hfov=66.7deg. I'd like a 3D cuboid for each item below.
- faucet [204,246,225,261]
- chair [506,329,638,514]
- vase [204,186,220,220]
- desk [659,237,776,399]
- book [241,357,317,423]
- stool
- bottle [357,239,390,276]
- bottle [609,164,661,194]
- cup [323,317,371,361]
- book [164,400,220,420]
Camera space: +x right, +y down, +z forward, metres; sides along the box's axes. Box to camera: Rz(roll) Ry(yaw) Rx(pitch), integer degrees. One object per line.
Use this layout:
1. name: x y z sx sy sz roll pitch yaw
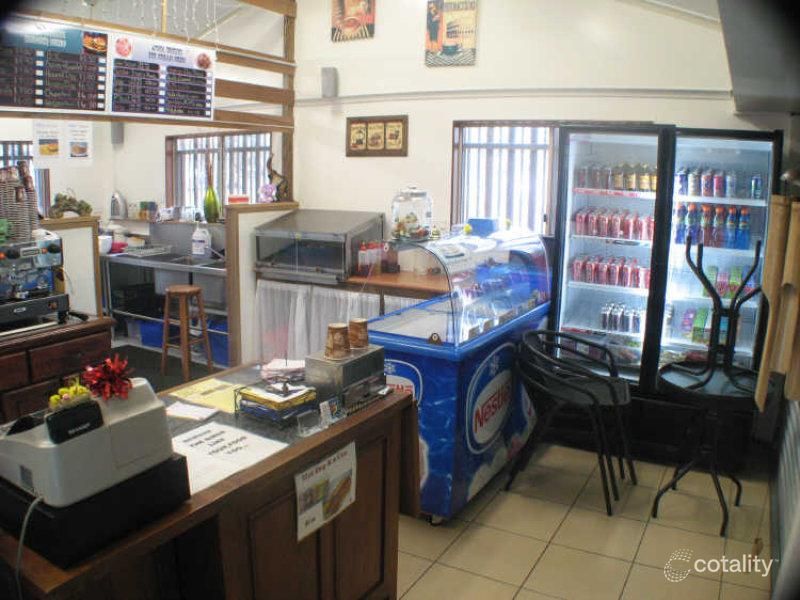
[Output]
1. faucet: -2.131 -0.525 7.009 0.204 0.206 0.155 10 28 8
2. chair: 1.309 0.789 4.603 1.117 1.480 1.117 0 5 25
3. vase: -2.182 -1.097 6.987 0.162 0.409 0.234 -6 14 -17
4. desk: 2.178 0.076 4.202 0.595 0.982 1.012 6 15 31
5. book: -0.524 0.443 2.795 0.330 0.132 0.341 8 16 35
6. stool: -2.256 0.313 6.373 0.450 0.893 0.467 11 17 34
7. bottle: -0.271 -0.403 5.842 0.046 0.288 0.337 11 12 39
8. bottle: 1.843 -0.953 4.803 0.264 0.143 0.285 2 9 0
9. cup: -0.264 0.181 2.924 0.119 0.141 0.241 9 15 35
10. book: -0.945 0.502 2.754 0.133 0.015 0.096 8 15 19
